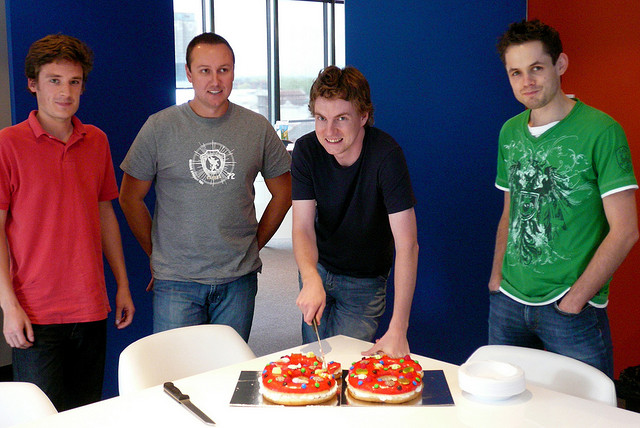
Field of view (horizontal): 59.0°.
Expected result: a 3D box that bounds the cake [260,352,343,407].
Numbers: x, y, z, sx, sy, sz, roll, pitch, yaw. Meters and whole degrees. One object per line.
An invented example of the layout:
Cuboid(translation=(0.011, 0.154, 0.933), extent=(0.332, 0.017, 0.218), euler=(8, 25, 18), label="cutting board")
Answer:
Cuboid(translation=(-0.085, 0.673, 2.268), extent=(0.199, 0.065, 0.211), euler=(2, 9, 11), label="cake")

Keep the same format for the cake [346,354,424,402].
Cuboid(translation=(0.281, 0.688, 2.333), extent=(0.292, 0.105, 0.330), euler=(1, 13, 22), label="cake")

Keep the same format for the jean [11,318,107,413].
Cuboid(translation=(-1.341, 0.750, 3.043), extent=(0.355, 0.829, 0.257), euler=(-6, 43, -31), label="jean")

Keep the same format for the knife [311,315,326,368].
Cuboid(translation=(-0.002, 0.586, 2.579), extent=(0.042, 0.265, 0.018), euler=(-4, 16, 43), label="knife")

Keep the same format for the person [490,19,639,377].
Cuboid(translation=(1.191, -0.085, 2.825), extent=(0.727, 1.711, 0.436), euler=(7, 15, 29), label="person")

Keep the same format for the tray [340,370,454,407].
Cuboid(translation=(0.304, 0.705, 2.296), extent=(0.442, 0.039, 0.228), euler=(0, 14, 2), label="tray")

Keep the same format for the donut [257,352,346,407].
Cuboid(translation=(-0.078, 0.685, 2.360), extent=(0.347, 0.110, 0.344), euler=(1, 11, 37), label="donut")

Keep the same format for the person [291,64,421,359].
Cuboid(translation=(0.154, 0.033, 2.745), extent=(0.622, 1.446, 0.862), euler=(0, 13, 3), label="person")

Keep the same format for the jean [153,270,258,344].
Cuboid(translation=(-0.649, 0.512, 3.221), extent=(0.619, 0.501, 0.356), euler=(1, -2, -22), label="jean")

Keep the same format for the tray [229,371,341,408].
Cuboid(translation=(-0.135, 0.710, 2.303), extent=(0.435, 0.038, 0.238), euler=(0, 14, 0), label="tray")
